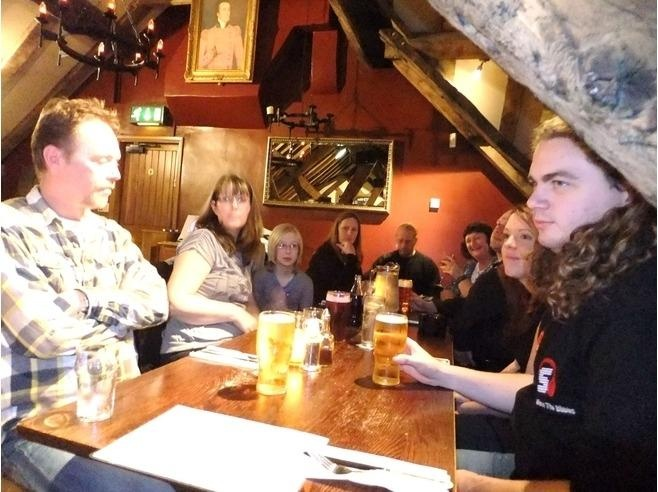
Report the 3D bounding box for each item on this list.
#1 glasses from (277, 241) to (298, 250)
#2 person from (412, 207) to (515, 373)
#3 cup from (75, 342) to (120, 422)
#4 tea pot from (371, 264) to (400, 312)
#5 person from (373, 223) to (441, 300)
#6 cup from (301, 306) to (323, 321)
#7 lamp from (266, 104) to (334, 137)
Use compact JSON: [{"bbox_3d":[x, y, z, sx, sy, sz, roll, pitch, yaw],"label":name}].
[{"bbox_3d":[-0.283,-0.006,3.502,0.129,0.044,0.042,2,12,-14],"label":"glasses"},{"bbox_3d":[0.799,0.424,3.010,0.624,1.122,0.429,-5,15,-3],"label":"person"},{"bbox_3d":[-0.684,0.389,1.499,0.117,0.199,0.116,4,8,-1],"label":"cup"},{"bbox_3d":[0.286,0.212,2.605,0.213,0.237,0.135,3,8,30],"label":"tea pot"},{"bbox_3d":[0.802,0.133,4.926,0.720,0.915,0.486,4,1,27],"label":"person"},{"bbox_3d":[-0.066,0.251,1.922,0.049,0.037,0.050,3,4,0],"label":"cup"},{"bbox_3d":[-0.305,-1.492,6.063,0.739,0.342,1.038,5,12,0],"label":"lamp"}]
